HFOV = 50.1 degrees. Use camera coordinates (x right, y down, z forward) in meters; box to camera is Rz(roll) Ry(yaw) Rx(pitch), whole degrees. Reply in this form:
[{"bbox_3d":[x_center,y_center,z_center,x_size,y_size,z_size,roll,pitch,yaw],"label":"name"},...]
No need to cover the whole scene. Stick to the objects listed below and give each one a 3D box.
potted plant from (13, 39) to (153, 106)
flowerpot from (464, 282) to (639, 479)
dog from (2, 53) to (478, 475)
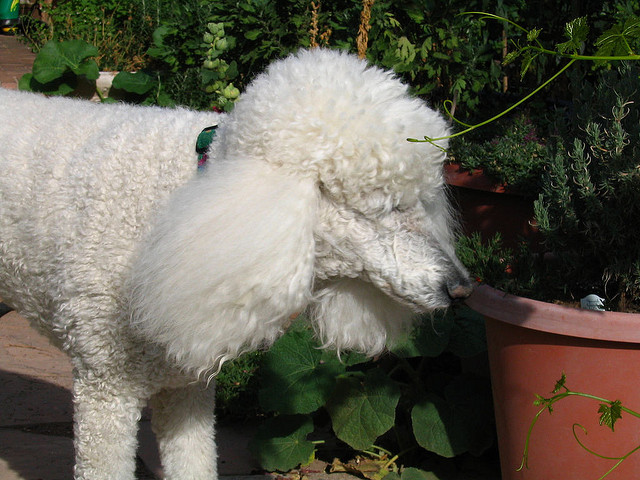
[{"bbox_3d":[-2.556,-1.778,7.147,1.013,1.066,0.405,-14,84,-2],"label":"potted plant"},{"bbox_3d":[1.063,0.585,3.090,0.769,0.621,0.779,-6,4,-23],"label":"flowerpot"},{"bbox_3d":[-0.443,0.150,2.734,1.956,1.444,1.148,10,42,12],"label":"dog"}]
